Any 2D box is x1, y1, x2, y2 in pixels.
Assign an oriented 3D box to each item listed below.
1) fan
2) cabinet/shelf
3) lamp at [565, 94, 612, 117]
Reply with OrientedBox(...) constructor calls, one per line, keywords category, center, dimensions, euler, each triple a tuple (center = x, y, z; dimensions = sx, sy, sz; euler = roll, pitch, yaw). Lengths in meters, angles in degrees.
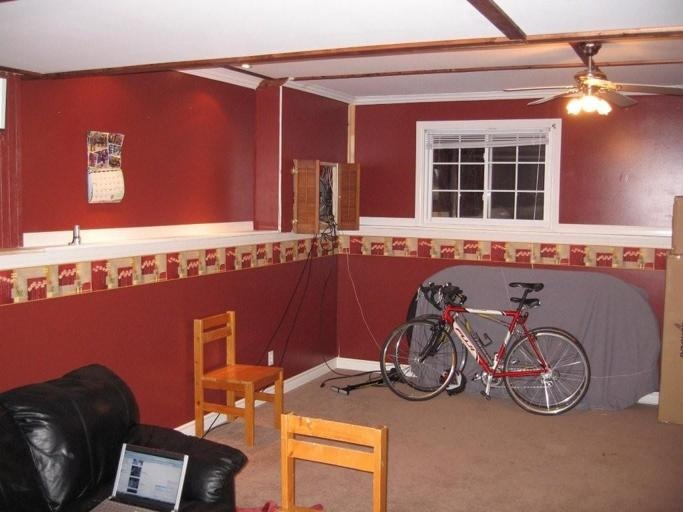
OrientedBox(category="fan", center=(1.952, -1.431, 4.356), dimensions=(0.680, 0.283, 0.660), euler=(0, 0, -7))
OrientedBox(category="cabinet/shelf", center=(-0.182, -0.650, 6.003), dimensions=(0.841, 0.749, 0.319), euler=(1, 0, -44))
OrientedBox(category="lamp", center=(1.639, -1.026, 3.785), dimensions=(0.244, 0.114, 0.194), euler=(5, 10, 29))
